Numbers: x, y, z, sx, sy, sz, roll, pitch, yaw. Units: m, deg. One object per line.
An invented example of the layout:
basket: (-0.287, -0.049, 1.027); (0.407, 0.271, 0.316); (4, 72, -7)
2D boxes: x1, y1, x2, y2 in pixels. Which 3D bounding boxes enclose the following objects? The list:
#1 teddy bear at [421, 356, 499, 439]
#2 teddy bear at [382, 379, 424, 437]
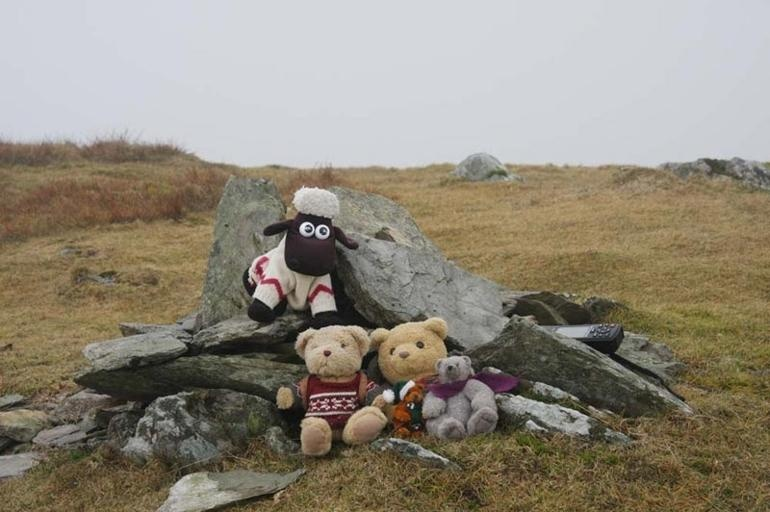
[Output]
teddy bear: (1.156, 2.227, 12.080); (1.126, 1.258, 1.000); (-6, 1, 5)
teddy bear: (0.307, 2.421, 12.092); (0.670, 0.801, 0.477); (1, 10, 3)
